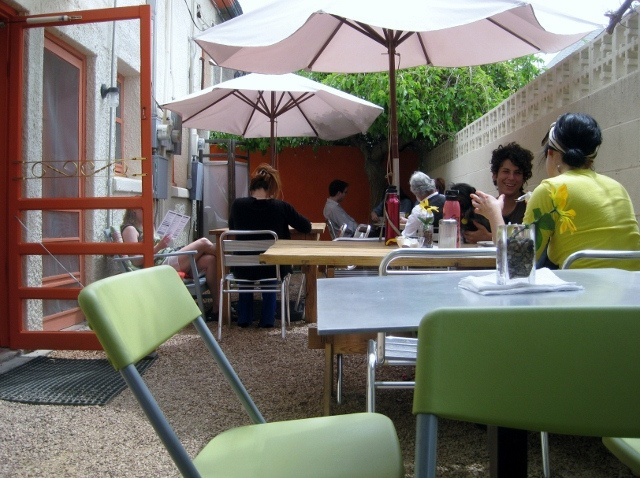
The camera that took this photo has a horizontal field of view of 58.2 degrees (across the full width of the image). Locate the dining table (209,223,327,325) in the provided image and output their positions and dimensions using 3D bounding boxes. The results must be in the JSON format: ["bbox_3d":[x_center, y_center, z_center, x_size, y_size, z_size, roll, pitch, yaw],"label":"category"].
[{"bbox_3d":[-0.582,0.114,6.346,1.394,1.508,1.142,-1,0,-3],"label":"dining table"}]

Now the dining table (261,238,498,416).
[{"bbox_3d":[0.386,0.578,3.448,0.738,0.783,0.813,-3,35,4],"label":"dining table"}]

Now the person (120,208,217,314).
[{"bbox_3d":[-1.321,0.163,5.473,0.976,1.064,0.837,2,1,-2],"label":"person"}]

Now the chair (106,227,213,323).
[{"bbox_3d":[-1.569,0.347,5.516,0.947,1.009,0.832,1,1,-1],"label":"chair"}]

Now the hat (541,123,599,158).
[{"bbox_3d":[1.363,-0.602,3.225,0.208,0.117,0.262,13,17,9],"label":"hat"}]

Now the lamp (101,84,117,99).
[{"bbox_3d":[-1.738,-1.213,4.743,0.117,0.119,0.103,2,3,17],"label":"lamp"}]

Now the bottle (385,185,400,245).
[{"bbox_3d":[0.503,-0.163,4.011,0.094,0.393,0.297,-2,14,6],"label":"bottle"}]

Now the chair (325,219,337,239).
[{"bbox_3d":[0.166,-0.147,8.339,0.220,0.368,0.209,0,4,1],"label":"chair"}]

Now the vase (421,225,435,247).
[{"bbox_3d":[0.676,-0.021,3.600,0.097,0.189,0.106,1,-3,1],"label":"vase"}]
